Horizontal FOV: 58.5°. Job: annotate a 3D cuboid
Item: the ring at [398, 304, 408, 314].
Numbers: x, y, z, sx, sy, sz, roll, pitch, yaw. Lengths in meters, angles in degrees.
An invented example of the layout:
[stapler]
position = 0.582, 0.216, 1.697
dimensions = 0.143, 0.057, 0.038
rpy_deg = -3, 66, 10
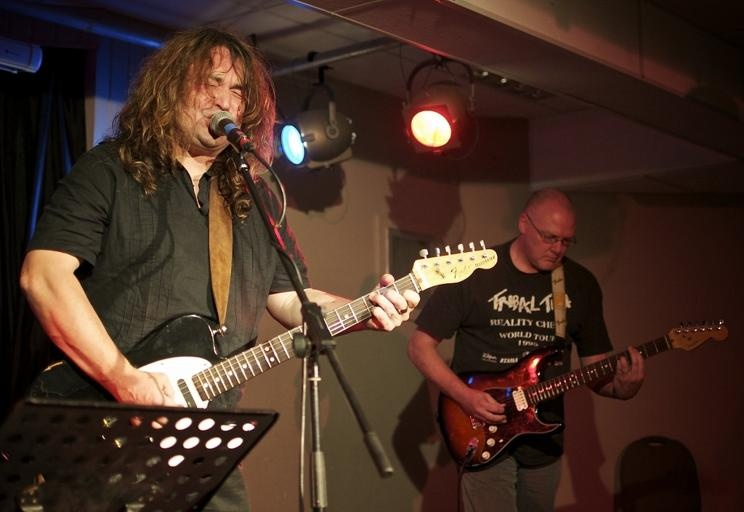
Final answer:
[ring]
position = 0.149, 0.261, 3.208
dimensions = 0.035, 0.036, 0.028
rpy_deg = 34, -24, 38

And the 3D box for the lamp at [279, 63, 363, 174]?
[lamp]
position = -0.513, -1.139, 5.461
dimensions = 0.603, 0.848, 0.630
rpy_deg = 0, 22, 11

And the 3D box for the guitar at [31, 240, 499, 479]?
[guitar]
position = -0.520, 0.560, 3.580
dimensions = 1.961, 0.671, 0.290
rpy_deg = -23, 7, -15
